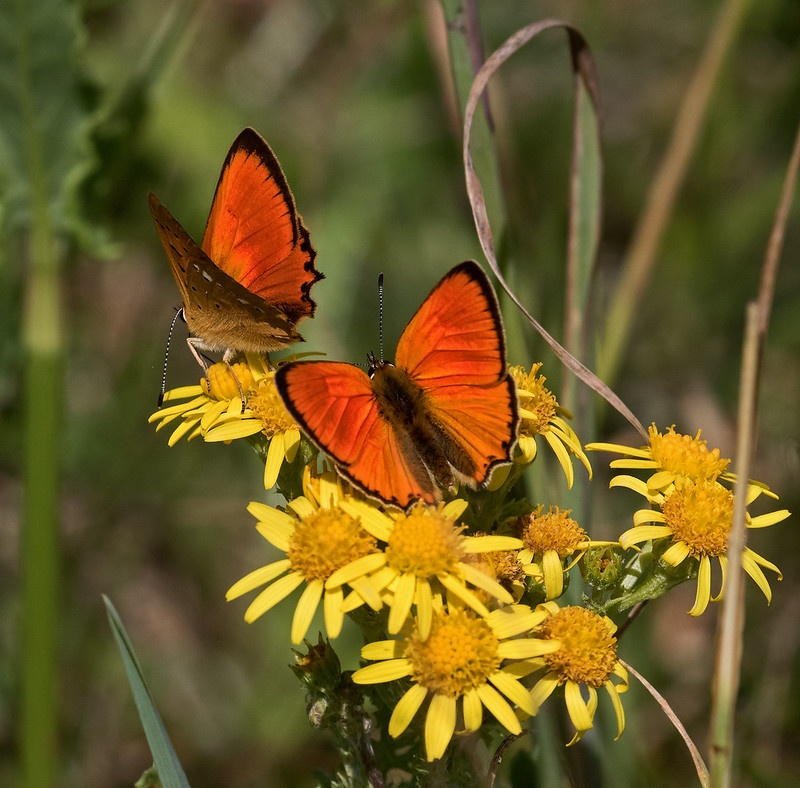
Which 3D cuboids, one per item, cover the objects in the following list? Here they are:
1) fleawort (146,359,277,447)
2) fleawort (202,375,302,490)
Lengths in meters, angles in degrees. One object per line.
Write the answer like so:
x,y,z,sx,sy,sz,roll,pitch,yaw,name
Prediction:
-0.689,0.019,3.835,0.347,0.191,0.407,-26,41,7,fleawort
-0.491,0.098,3.557,0.355,0.122,0.378,-41,66,7,fleawort
